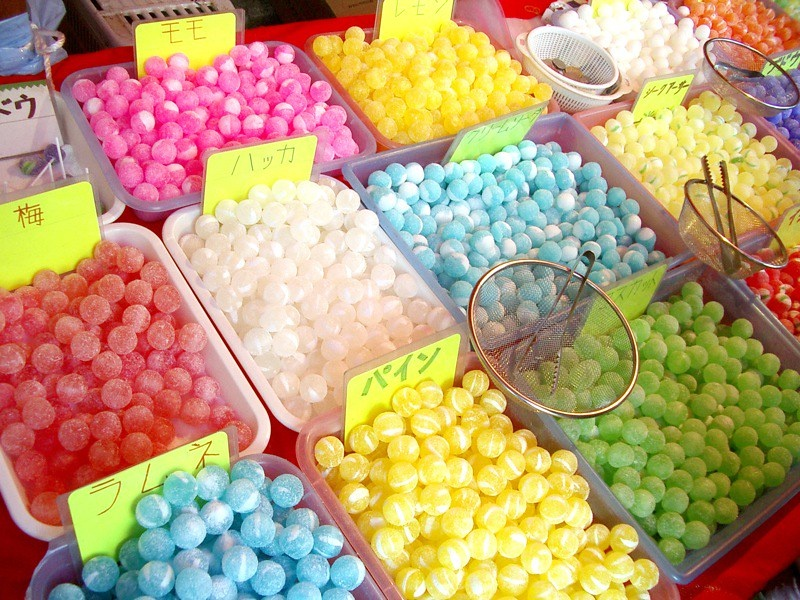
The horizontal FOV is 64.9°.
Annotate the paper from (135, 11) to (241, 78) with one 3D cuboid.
[{"bbox_3d":[-0.719,-0.858,2.136,0.271,0.186,0.013,-14,32,-27],"label":"paper"}]

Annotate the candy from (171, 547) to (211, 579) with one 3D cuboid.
[{"bbox_3d":[-0.446,0.552,1.352,0.065,0.057,0.056,-42,34,2],"label":"candy"}]

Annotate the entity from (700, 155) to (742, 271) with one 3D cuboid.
[{"bbox_3d":[1.017,-0.288,1.997,0.069,0.443,0.064,6,68,34],"label":"entity"}]

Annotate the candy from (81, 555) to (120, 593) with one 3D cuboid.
[{"bbox_3d":[-0.640,0.589,1.349,0.068,0.066,0.069,-23,61,-20],"label":"candy"}]

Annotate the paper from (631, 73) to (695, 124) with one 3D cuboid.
[{"bbox_3d":[1.050,-0.805,2.533,0.282,0.200,0.014,-28,54,-12],"label":"paper"}]

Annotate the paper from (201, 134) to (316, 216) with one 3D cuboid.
[{"bbox_3d":[-0.415,-0.358,1.864,0.313,0.216,0.013,-14,51,-28],"label":"paper"}]

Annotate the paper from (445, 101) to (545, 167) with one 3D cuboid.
[{"bbox_3d":[0.329,-0.589,2.262,0.400,0.273,0.016,-27,70,-15],"label":"paper"}]

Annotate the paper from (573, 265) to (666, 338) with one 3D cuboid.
[{"bbox_3d":[0.669,-0.009,2.010,0.057,0.245,0.247,25,80,39],"label":"paper"}]
